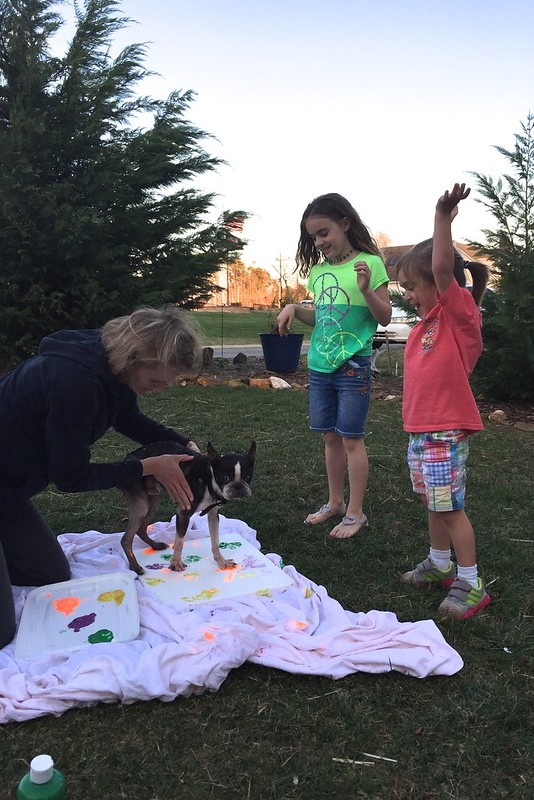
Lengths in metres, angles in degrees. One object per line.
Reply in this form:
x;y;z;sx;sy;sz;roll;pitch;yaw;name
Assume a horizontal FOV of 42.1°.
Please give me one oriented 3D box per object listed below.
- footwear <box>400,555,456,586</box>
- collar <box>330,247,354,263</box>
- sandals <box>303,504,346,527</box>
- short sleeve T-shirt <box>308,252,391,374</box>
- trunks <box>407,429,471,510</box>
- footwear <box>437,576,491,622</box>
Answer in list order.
0.771;0.847;3.431;0.321;0.133;0.107;1;-2;6;footwear
0.450;-0.873;4.216;0.084;0.025;0.109;-32;5;-42;collar
0.365;0.707;4.295;0.297;0.123;0.097;1;21;-39;sandals
0.417;-0.511;4.251;0.267;0.682;0.483;-7;10;-37;short sleeve T-shirt
0.806;0.325;3.223;0.222;0.394;0.336;-1;8;-1;trunks
0.874;0.889;3.081;0.121;0.106;0.262;-7;-6;42;footwear
